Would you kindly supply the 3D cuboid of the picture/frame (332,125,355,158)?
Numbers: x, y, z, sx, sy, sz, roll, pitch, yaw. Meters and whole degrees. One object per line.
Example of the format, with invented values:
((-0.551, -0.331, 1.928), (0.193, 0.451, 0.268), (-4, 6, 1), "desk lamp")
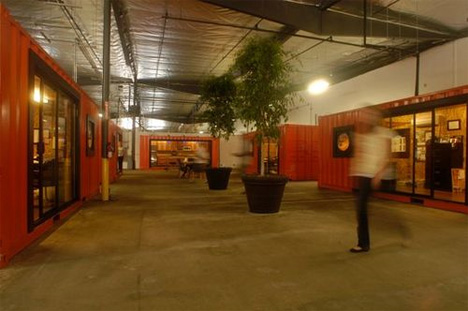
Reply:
((4.429, -0.558, 15.566), (0.096, 1.344, 1.291), (1, 0, -18), "picture/frame")

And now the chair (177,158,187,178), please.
((-3.181, 0.804, 23.381), (0.783, 1.403, 0.997), (-1, 3, -11), "chair")

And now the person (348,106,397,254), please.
((3.068, 0.755, 8.964), (0.712, 2.807, 1.054), (9, 16, 29), "person")
